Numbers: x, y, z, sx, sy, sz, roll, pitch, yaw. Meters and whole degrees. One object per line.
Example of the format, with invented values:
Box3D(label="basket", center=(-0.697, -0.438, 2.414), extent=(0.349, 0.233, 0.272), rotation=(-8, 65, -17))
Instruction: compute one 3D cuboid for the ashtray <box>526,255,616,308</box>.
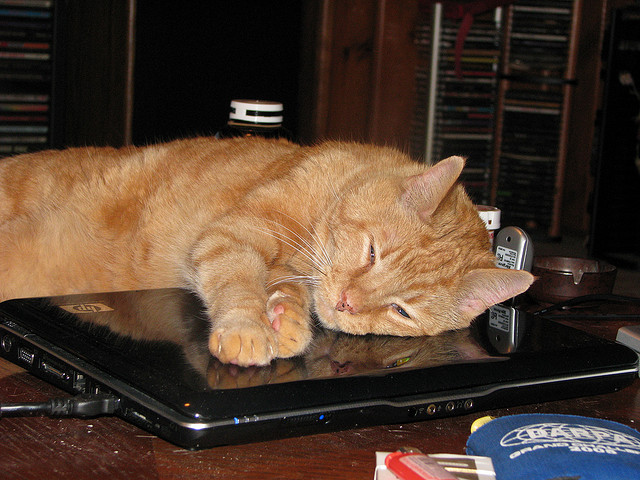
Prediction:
Box3D(label="ashtray", center=(0.694, 0.133, 1.839), extent=(0.219, 0.086, 0.196), rotation=(-3, -6, -6))
